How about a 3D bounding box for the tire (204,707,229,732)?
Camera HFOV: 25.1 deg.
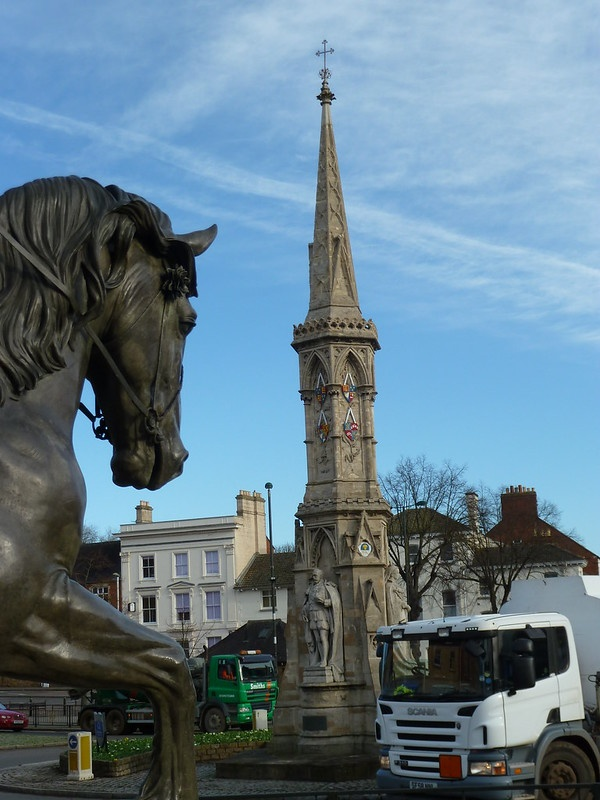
[{"bbox_3d":[-2.010,7.745,32.516,0.697,0.645,0.217,-11,-20,41],"label":"tire"}]
